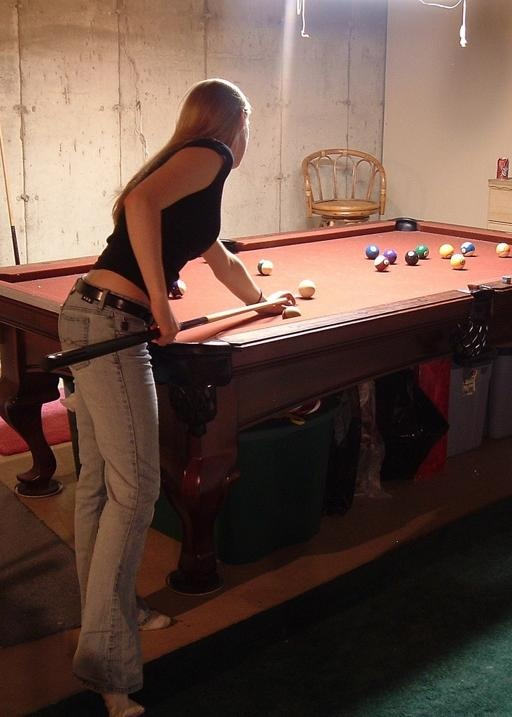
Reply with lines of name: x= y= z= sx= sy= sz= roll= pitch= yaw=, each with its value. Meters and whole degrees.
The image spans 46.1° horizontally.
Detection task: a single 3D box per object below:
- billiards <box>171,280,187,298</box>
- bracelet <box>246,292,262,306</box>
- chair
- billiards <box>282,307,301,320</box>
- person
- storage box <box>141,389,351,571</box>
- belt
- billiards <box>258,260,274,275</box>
billiards: x=-0.236 y=-0.211 z=1.837 sx=0.033 sy=0.038 sz=0.094 roll=2 pitch=-8 yaw=-5
bracelet: x=-0.008 y=-0.165 z=1.703 sx=0.032 sy=0.028 sz=0.041 roll=-3 pitch=6 yaw=9
chair: x=0.838 y=-1.451 z=5.731 sx=0.790 sy=0.954 sz=0.688 roll=1 pitch=14 yaw=6
billiards: x=0.091 y=-0.117 z=1.575 sx=0.037 sy=0.026 sz=0.035 roll=-1 pitch=23 yaw=3
person: x=-0.240 y=0.066 z=1.350 sx=0.524 sy=1.167 sz=0.454 roll=5 pitch=9 yaw=29
storage box: x=-0.067 y=0.374 z=1.891 sx=0.570 sy=0.394 sz=0.448 roll=-15 pitch=22 yaw=-39
belt: x=-0.273 y=-0.107 z=1.168 sx=0.104 sy=0.029 sz=0.096 roll=24 pitch=3 yaw=17
billiards: x=0.032 y=-0.322 z=2.181 sx=0.057 sy=0.052 sz=0.052 roll=3 pitch=-29 yaw=-3
